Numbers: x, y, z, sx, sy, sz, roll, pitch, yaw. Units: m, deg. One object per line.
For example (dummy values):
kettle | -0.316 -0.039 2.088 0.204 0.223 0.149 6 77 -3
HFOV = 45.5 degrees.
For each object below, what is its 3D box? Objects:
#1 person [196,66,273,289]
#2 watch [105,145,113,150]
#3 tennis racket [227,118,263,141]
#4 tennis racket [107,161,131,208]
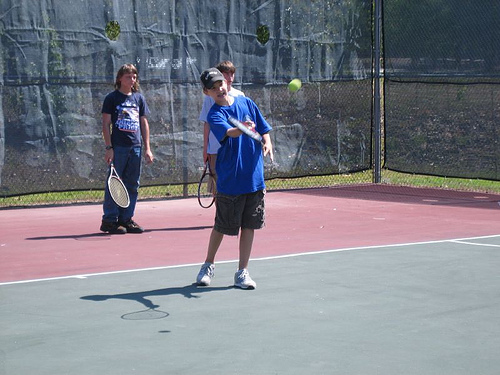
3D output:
person | -0.118 -0.070 5.216 0.625 1.893 0.587 2 7 24
watch | -1.809 -0.502 7.661 0.057 0.041 0.060 0 -14 -4
tennis racket | -0.047 -0.489 5.003 0.272 0.179 0.548 -1 7 -2
tennis racket | -1.623 -0.044 7.349 0.025 0.218 0.629 -28 49 10
